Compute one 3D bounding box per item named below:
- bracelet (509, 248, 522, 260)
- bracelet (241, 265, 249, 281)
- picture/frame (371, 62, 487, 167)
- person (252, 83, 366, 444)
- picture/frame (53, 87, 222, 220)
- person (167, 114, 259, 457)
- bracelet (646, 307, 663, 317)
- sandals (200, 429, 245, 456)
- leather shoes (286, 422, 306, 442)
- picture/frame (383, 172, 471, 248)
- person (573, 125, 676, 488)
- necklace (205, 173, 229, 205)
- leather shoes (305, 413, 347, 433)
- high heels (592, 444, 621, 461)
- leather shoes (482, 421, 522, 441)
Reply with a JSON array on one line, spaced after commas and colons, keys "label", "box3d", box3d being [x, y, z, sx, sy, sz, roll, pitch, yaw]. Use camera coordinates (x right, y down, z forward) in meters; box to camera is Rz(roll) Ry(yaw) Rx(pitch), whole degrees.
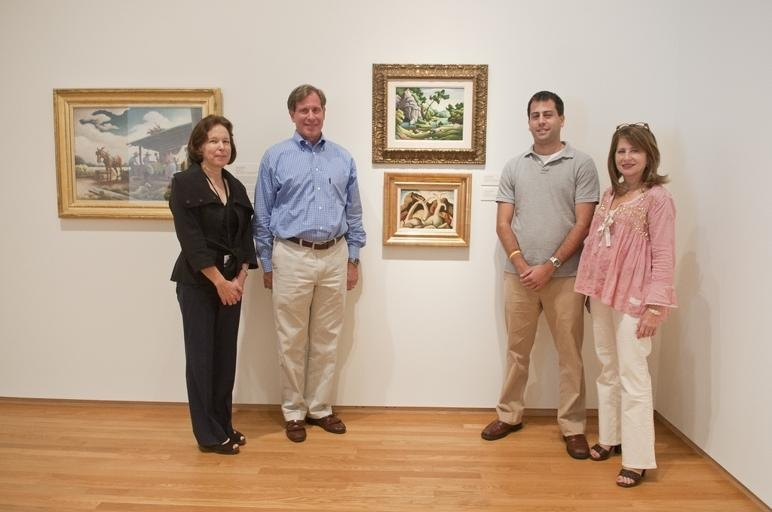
[{"label": "bracelet", "box3d": [0.959, -0.011, 4.559, 0.062, 0.017, 0.064, -30, -12, -16]}, {"label": "bracelet", "box3d": [-1.020, 0.127, 4.509, 0.080, 0.098, 0.055, 7, 5, -21]}, {"label": "picture/frame", "box3d": [0.358, -1.142, 4.817, 0.800, 0.646, 0.034, 0, 3, 0]}, {"label": "person", "box3d": [-0.540, 0.044, 4.648, 0.825, 2.590, 0.472, -3, 10, -13]}, {"label": "picture/frame", "box3d": [-1.890, -0.833, 4.793, 1.126, 0.817, 0.052, 1, 6, 4]}, {"label": "person", "box3d": [-1.192, 0.211, 4.429, 0.583, 2.397, 0.461, -6, 11, -26]}, {"label": "bracelet", "box3d": [1.773, 0.368, 4.072, 0.065, 0.027, 0.053, 20, 3, -6]}, {"label": "sandals", "box3d": [-1.179, 1.344, 4.482, 0.246, 0.086, 0.136, -1, 12, 2]}, {"label": "leather shoes", "box3d": [-0.658, 1.312, 4.623, 0.152, 0.113, 0.157, -2, 9, -9]}, {"label": "picture/frame", "box3d": [0.346, -0.382, 4.881, 0.598, 0.499, 0.044, 1, 3, 1]}, {"label": "person", "box3d": [1.678, 0.319, 4.253, 0.471, 2.415, 0.613, -5, 10, -24]}, {"label": "necklace", "box3d": [-1.200, -0.472, 4.439, 0.141, 0.207, 0.052, -10, -21, -46]}, {"label": "leather shoes", "box3d": [-0.446, 1.267, 4.775, 0.305, 0.116, 0.123, 8, 5, 22]}, {"label": "high heels", "box3d": [1.564, 1.405, 4.433, 0.234, 0.089, 0.095, -1, 1, -6]}, {"label": "leather shoes", "box3d": [0.874, 1.301, 4.696, 0.318, 0.118, 0.122, -2, 12, -18]}]
